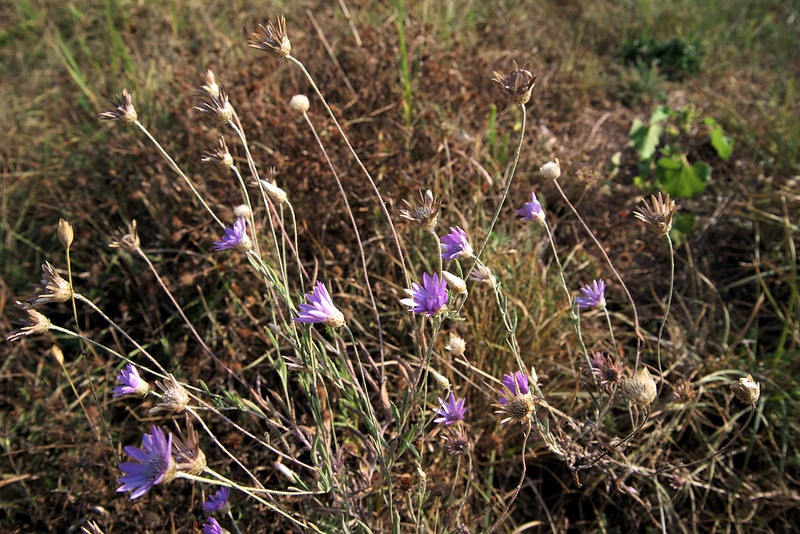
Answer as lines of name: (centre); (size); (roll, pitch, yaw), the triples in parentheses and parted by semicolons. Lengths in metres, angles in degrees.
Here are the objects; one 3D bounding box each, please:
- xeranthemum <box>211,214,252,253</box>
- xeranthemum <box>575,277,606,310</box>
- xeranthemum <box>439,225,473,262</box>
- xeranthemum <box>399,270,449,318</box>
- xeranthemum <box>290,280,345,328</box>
xeranthemum: (-0.811, -0.162, 3.347); (0.181, 0.179, 0.104); (23, 3, 15)
xeranthemum: (1.035, 0.146, 3.638); (0.134, 0.070, 0.144); (-36, 42, 17)
xeranthemum: (0.279, -0.109, 3.283); (0.147, 0.171, 0.127); (-16, -7, 28)
xeranthemum: (0.124, 0.157, 3.168); (0.200, 0.216, 0.297); (-2, 35, 9)
xeranthemum: (-0.388, 0.192, 3.197); (0.203, 0.240, 0.278); (-12, 35, -7)
